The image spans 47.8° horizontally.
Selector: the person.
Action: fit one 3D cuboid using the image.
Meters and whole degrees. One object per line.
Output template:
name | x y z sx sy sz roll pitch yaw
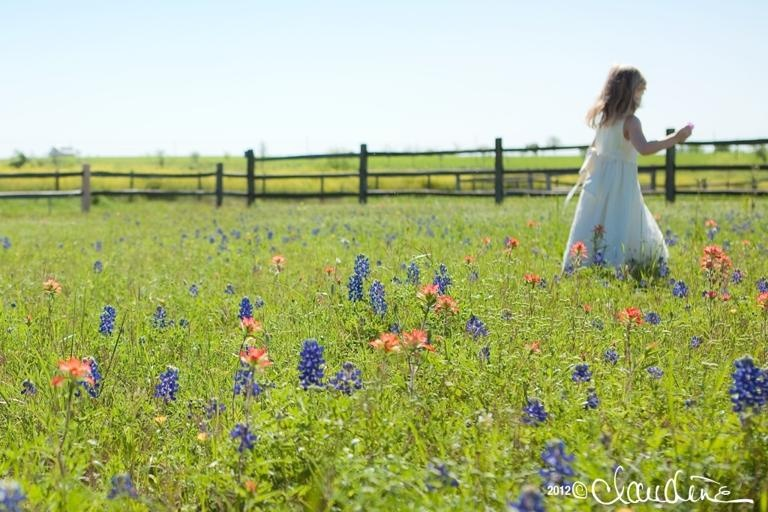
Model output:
person | 2.154 -0.821 8.007 0.822 1.824 0.631 2 5 20
